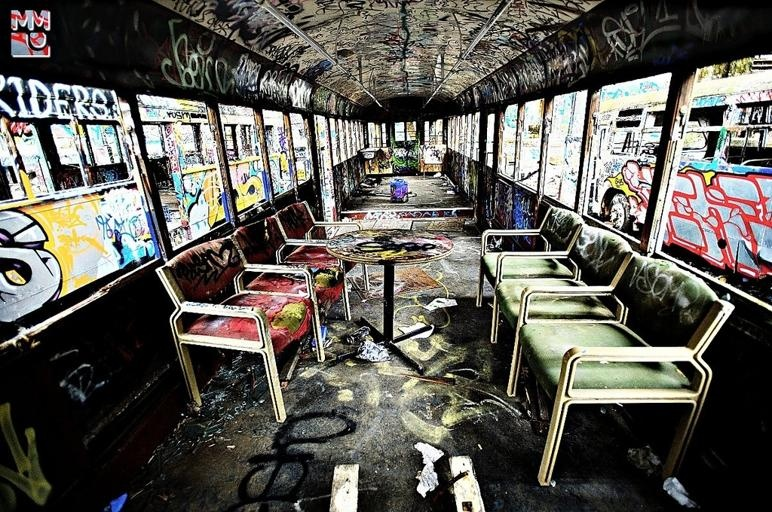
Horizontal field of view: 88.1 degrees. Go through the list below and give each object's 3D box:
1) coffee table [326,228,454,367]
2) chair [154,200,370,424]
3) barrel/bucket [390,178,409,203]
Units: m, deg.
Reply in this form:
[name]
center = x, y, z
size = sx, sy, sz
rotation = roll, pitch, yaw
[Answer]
[coffee table]
center = 0.131, 0.242, 4.933
size = 1.634, 1.350, 1.592
rotation = -9, 28, -20
[chair]
center = -1.404, 0.660, 4.365
size = 0.992, 1.156, 2.302
rotation = 3, 19, 8
[barrel/bucket]
center = 0.430, -2.019, 12.496
size = 0.533, 0.635, 0.534
rotation = 0, 20, 0
